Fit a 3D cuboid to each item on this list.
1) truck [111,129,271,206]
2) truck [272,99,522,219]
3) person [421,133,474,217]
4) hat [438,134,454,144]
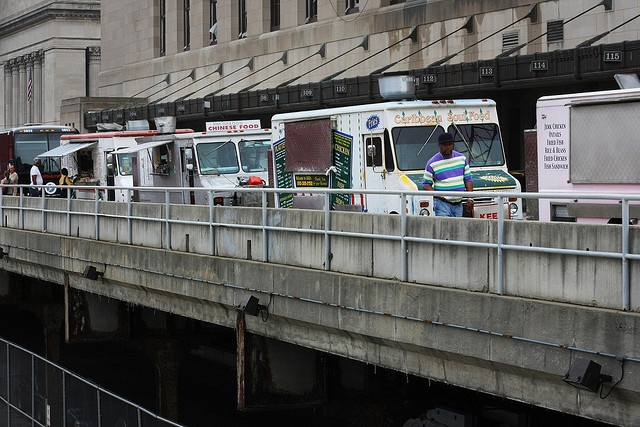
[{"bbox_3d":[-3.631,-1.653,31.903,4.493,1.631,1.803,-1,7,22],"label":"truck"},{"bbox_3d":[1.579,-1.662,27.629,3.006,3.318,5.173,-5,1,-41],"label":"truck"},{"bbox_3d":[2.723,-0.862,22.666,1.054,1.674,2.050,-2,7,8],"label":"person"},{"bbox_3d":[2.690,-1.626,22.915,0.196,0.163,0.274,-7,2,-9],"label":"hat"}]
